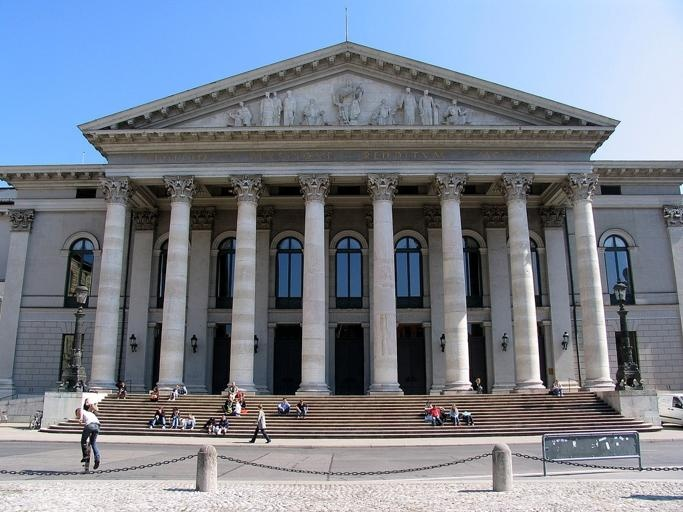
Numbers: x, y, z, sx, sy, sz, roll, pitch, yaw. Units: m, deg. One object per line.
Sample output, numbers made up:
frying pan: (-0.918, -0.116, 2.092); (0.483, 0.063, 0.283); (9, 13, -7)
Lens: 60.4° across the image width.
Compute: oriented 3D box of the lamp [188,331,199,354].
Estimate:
lamp: (-10.854, 6.384, 43.172); (0.605, 1.375, 0.269); (-2, -18, 8)

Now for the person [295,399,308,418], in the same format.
person: (-2.242, 8.682, 33.297); (0.772, 1.035, 0.696); (-1, -18, -4)

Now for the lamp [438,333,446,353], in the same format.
lamp: (7.382, 6.297, 43.005); (0.389, 1.398, 0.244); (-17, -25, 42)

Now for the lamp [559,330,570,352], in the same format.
lamp: (16.348, 6.111, 42.903); (0.569, 1.410, 0.523); (-1, -18, 3)

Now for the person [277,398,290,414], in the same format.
person: (-3.289, 8.671, 33.731); (0.806, 1.005, 0.596); (2, -30, -4)

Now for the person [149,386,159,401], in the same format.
person: (-11.355, 8.416, 35.799); (0.758, 0.964, 0.447); (3, -10, 2)

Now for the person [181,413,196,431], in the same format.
person: (-8.432, 9.150, 32.474); (0.760, 0.826, 1.020); (4, -18, -11)

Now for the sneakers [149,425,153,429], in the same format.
sneakers: (-10.410, 9.315, 32.216); (0.172, 0.215, 0.434); (7, -18, -19)

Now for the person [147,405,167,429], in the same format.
person: (-10.145, 8.965, 32.574); (1.032, 1.094, 0.993); (4, -18, -13)

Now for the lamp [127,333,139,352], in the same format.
lamp: (-15.257, 6.359, 43.194); (0.639, 1.314, 0.408); (4, -18, -11)

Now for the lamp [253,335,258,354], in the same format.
lamp: (-6.229, 6.365, 43.006); (0.442, 1.360, 0.217); (12, -21, -31)

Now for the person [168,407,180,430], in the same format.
person: (-9.211, 8.969, 32.733); (0.576, 1.178, 1.230); (6, -18, -16)
